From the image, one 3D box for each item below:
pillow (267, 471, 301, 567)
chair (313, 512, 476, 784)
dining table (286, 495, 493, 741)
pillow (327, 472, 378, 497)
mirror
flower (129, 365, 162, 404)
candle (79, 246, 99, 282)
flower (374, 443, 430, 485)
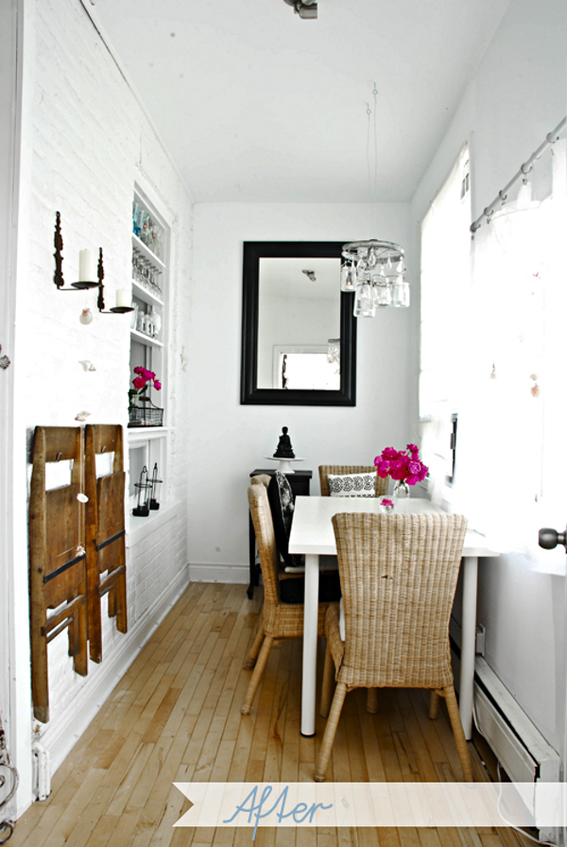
[{"bbox_3d":[0.002,0.449,2.640,0.091,0.372,0.355,-6,-41,7],"label":"pillow"},{"bbox_3d":[0.333,0.639,2.019,0.583,1.186,0.687,1,1,0],"label":"chair"},{"bbox_3d":[0.367,0.623,2.013,0.465,0.987,0.591,-1,17,4],"label":"dining table"},{"bbox_3d":[0.415,0.370,3.493,0.182,0.146,0.067,2,-40,2],"label":"pillow"},{"bbox_3d":[0.113,-0.677,4.112,0.898,1.592,0.101,0,-1,0],"label":"mirror"},{"bbox_3d":[-0.788,-0.210,3.264,0.161,0.229,0.193,8,1,35],"label":"flower"},{"bbox_3d":[-0.609,-0.483,1.805,0.041,0.101,0.070,1,-1,-14],"label":"candle"},{"bbox_3d":[0.512,0.176,2.498,0.184,0.238,0.201,6,2,24],"label":"flower"}]
